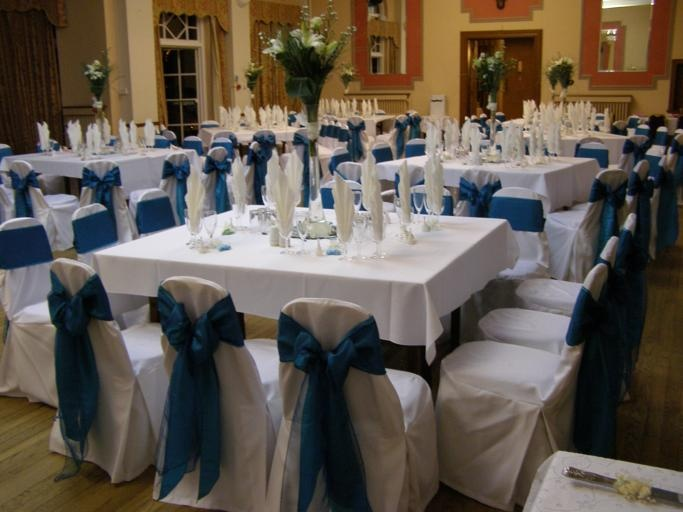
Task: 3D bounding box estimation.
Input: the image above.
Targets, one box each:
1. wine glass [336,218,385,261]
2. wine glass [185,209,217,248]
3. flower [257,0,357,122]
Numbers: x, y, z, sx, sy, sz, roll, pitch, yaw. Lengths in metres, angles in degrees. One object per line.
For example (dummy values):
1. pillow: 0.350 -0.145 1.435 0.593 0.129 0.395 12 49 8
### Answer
1. wine glass: 0.110 -0.070 3.136 0.212 0.275 0.212 -5 10 -25
2. wine glass: -0.812 -0.154 3.432 0.171 0.260 0.225 1 7 -10
3. flower: -0.178 -1.174 3.437 0.500 0.724 0.463 -6 13 -16
